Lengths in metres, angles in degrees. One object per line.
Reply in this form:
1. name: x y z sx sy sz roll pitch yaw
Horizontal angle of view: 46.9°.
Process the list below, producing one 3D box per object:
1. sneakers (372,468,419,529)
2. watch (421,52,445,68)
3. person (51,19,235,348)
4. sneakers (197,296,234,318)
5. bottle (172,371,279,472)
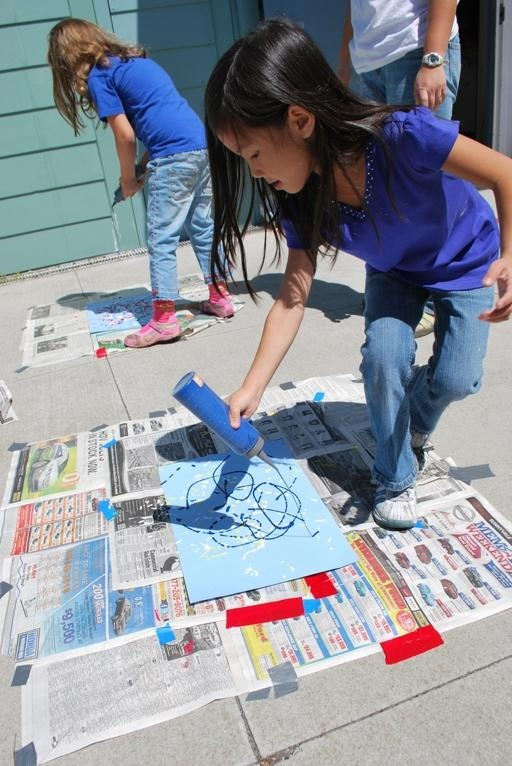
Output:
1. sneakers: 0.308 0.246 1.269 0.055 0.058 0.139 -1 28 6
2. watch: 0.454 -0.819 1.497 0.050 0.031 0.050 7 15 20
3. person: -0.463 -0.790 2.387 0.592 1.193 0.506 -6 27 -8
4. sneakers: -0.171 -0.341 2.646 0.066 0.073 0.178 -7 18 -28
5. bottle: -0.070 0.104 1.389 0.183 0.184 0.044 -19 33 49
